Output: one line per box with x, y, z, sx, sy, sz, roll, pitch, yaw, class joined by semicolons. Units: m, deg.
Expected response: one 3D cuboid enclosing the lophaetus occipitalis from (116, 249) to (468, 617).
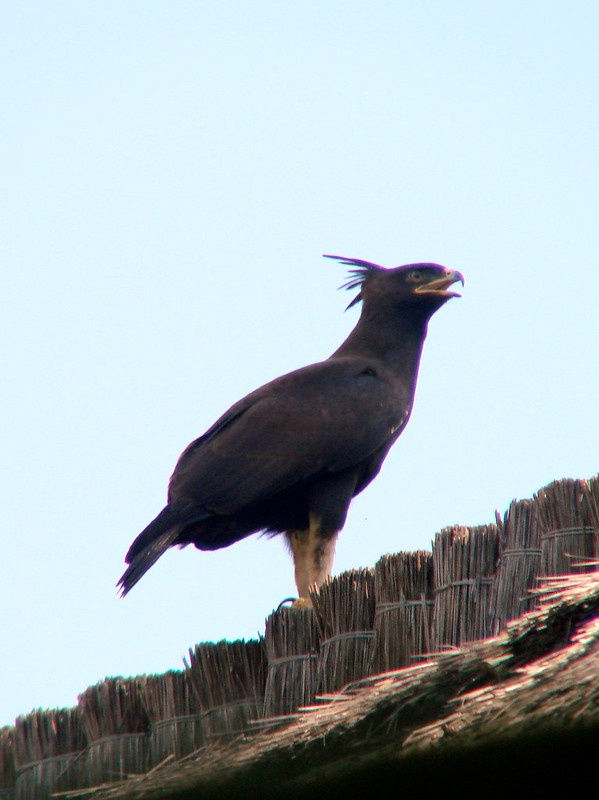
0.022;0.035;9.734;1.753;2.323;0.973;3;-11;-11;lophaetus occipitalis
